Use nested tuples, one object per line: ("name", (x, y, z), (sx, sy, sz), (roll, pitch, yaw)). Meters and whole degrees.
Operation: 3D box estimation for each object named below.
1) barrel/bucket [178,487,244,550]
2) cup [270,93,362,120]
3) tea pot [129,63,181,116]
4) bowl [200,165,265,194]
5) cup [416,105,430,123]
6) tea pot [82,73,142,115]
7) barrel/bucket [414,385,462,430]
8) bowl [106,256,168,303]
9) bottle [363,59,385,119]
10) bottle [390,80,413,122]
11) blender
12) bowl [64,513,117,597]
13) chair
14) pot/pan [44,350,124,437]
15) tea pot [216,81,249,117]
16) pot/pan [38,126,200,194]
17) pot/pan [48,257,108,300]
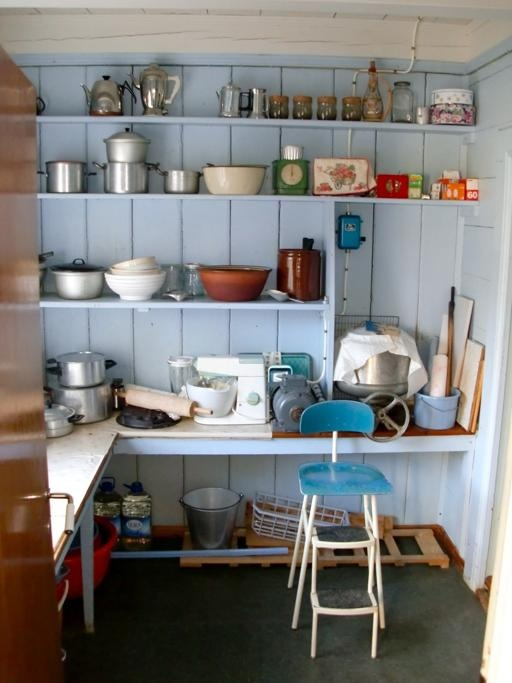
("barrel/bucket", (-0.229, 0.880, 2.984), (0.271, 0.209, 0.290), (0, -1, 0))
("cup", (0.274, -1.078, 2.712), (0.436, 0.128, 0.151), (2, 10, 4))
("tea pot", (-0.468, -1.180, 2.709), (0.299, 0.267, 0.182), (-1, 10, -10))
("bowl", (-0.100, -0.730, 2.632), (0.275, 0.146, 0.141), (0, 10, -3))
("cup", (0.783, -1.063, 2.746), (0.061, 0.080, 0.048), (2, 10, 7))
("tea pot", (-0.671, -1.153, 2.725), (0.268, 0.183, 0.168), (2, 18, -7))
("barrel/bucket", (0.845, 0.308, 2.709), (0.182, 0.132, 0.178), (1, 0, 0))
("bowl", (-0.555, -0.287, 2.745), (0.232, 0.116, 0.229), (-2, 2, 0))
("bottle", (0.555, -1.168, 2.757), (0.101, 0.284, 0.206), (3, 10, 10))
("bottle", (0.686, -1.122, 2.738), (0.097, 0.181, 0.055), (2, 9, 3))
("blender", (-0.135, 0.272, 2.842), (0.395, 0.337, 0.254), (-1, -26, -4))
("bowl", (-0.691, 0.928, 2.566), (0.331, 0.228, 0.328), (1, 0, 0))
("chair", (0.373, 0.728, 2.596), (0.441, 0.967, 0.654), (2, 9, 4))
("pot/pan", (-0.808, 0.209, 2.749), (0.358, 0.304, 0.320), (-5, 17, -22))
("tea pot", (-0.110, -1.128, 2.712), (0.200, 0.186, 0.138), (2, 33, -2))
("pot/pan", (-0.475, -0.798, 2.642), (0.904, 0.372, 0.273), (-3, 14, -11))
("pot/pan", (-0.829, -0.295, 2.781), (0.208, 0.136, 0.188), (2, 13, 7))
